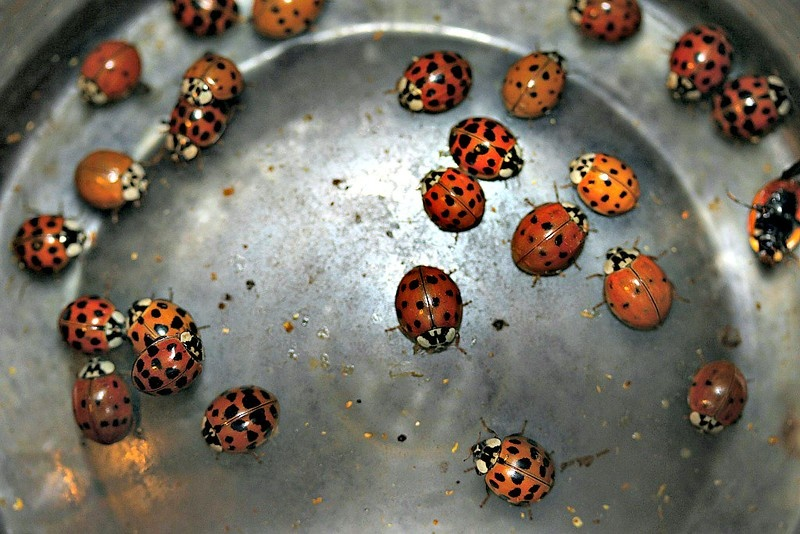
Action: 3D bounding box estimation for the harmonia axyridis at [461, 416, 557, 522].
[{"bbox_3d":[0.719,1.288,6.193,0.554,0.196,0.579,22,80,-1],"label":"harmonia axyridis"}]

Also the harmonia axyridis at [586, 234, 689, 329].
[{"bbox_3d":[1.502,0.147,6.236,0.575,0.244,0.582,-35,84,-4],"label":"harmonia axyridis"}]

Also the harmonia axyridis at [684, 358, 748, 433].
[{"bbox_3d":[2.037,0.824,6.201,0.356,0.168,0.475,25,80,-3],"label":"harmonia axyridis"}]

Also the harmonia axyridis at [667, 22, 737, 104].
[{"bbox_3d":[1.959,-1.335,6.321,0.382,0.230,0.502,26,84,3],"label":"harmonia axyridis"}]

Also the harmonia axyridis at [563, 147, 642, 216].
[{"bbox_3d":[1.329,-0.565,6.297,0.491,0.189,0.403,31,82,13],"label":"harmonia axyridis"}]

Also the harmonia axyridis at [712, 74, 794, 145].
[{"bbox_3d":[2.228,-1.044,6.306,0.433,0.404,0.481,-3,30,0],"label":"harmonia axyridis"}]
